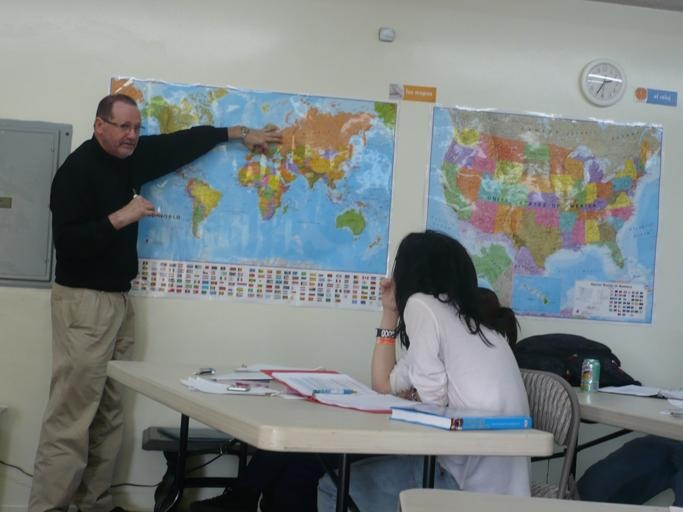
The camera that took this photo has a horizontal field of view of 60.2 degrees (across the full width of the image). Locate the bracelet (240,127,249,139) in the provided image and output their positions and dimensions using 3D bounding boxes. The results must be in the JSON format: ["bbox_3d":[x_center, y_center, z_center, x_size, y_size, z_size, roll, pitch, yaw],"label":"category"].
[{"bbox_3d":[-0.598,-0.760,3.624,0.045,0.068,0.069,15,19,14],"label":"bracelet"}]

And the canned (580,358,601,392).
[{"bbox_3d":[1.271,0.600,2.995,0.084,0.168,0.155,4,0,23],"label":"canned"}]

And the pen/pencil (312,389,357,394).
[{"bbox_3d":[-0.031,0.497,2.167,0.124,0.020,0.020,2,2,-9],"label":"pen/pencil"}]

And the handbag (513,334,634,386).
[{"bbox_3d":[1.252,0.553,3.266,0.337,0.157,0.420,0,-3,-7],"label":"handbag"}]

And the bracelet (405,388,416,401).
[{"bbox_3d":[0.280,0.563,2.392,0.047,0.039,0.023,1,16,1],"label":"bracelet"}]

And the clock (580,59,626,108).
[{"bbox_3d":[1.740,-1.165,3.940,0.302,0.322,0.041,2,-2,-10],"label":"clock"}]
